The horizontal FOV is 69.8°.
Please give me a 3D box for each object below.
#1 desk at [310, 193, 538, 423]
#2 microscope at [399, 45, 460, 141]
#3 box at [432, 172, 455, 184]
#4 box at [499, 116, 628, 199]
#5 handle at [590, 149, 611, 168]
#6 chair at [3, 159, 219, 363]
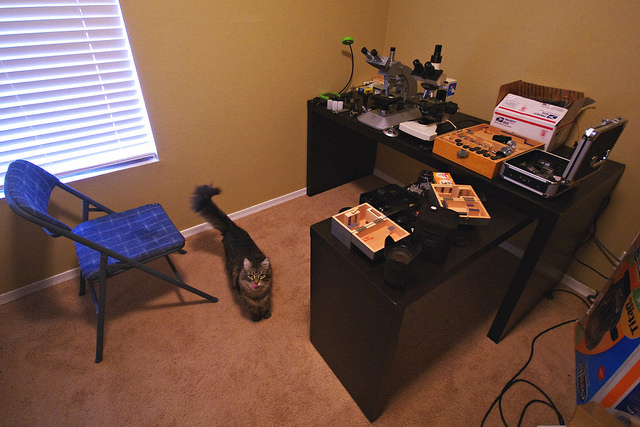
[{"bbox_3d":[0.472,0.531,3.120,0.941,1.136,0.810,-24,45,-32],"label":"desk"},{"bbox_3d":[0.792,-0.833,3.365,0.375,0.730,0.397,-20,38,-35],"label":"microscope"},{"bbox_3d":[0.800,-0.223,2.998,0.120,0.051,0.127,5,38,1],"label":"box"},{"bbox_3d":[1.546,-0.418,2.964,0.632,0.433,0.383,-20,43,-29],"label":"box"},{"bbox_3d":[1.791,-0.356,2.948,0.034,0.127,0.128,32,18,13],"label":"handle"},{"bbox_3d":[-1.484,-0.072,3.694,1.532,1.754,1.114,-20,52,-29],"label":"chair"}]
